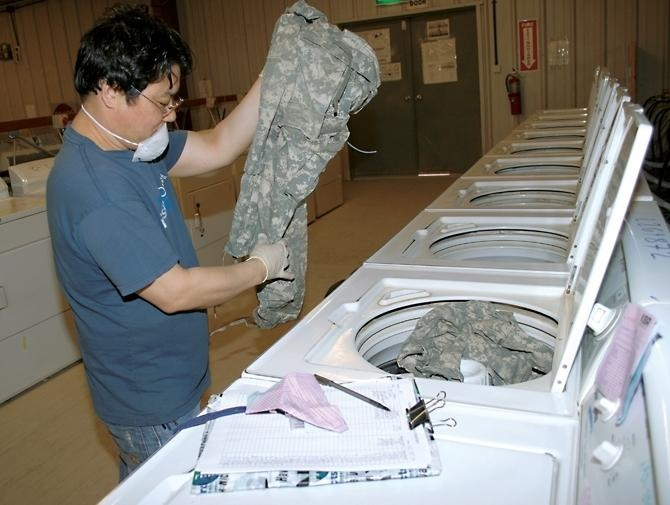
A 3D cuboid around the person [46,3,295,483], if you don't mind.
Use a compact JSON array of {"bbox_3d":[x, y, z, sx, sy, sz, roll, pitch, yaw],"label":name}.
[{"bbox_3d":[-0.537,0.229,1.453,0.572,1.682,0.528,-9,19,-43],"label":"person"}]
